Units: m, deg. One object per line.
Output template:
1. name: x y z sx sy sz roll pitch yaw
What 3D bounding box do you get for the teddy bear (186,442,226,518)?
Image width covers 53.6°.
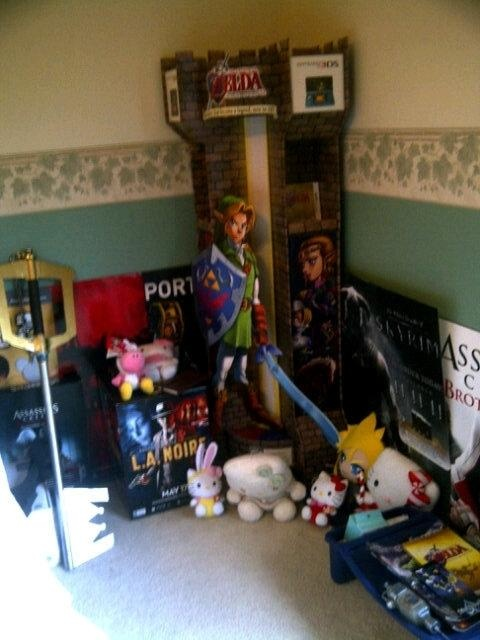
1. teddy bear: -0.172 0.752 2.340 0.179 0.371 0.227 -3 8 -7

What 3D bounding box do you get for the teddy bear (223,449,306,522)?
1. teddy bear: 0.114 0.762 2.279 0.326 0.368 0.335 4 50 11

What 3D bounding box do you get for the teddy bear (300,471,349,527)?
1. teddy bear: 0.379 0.839 2.177 0.170 0.159 0.274 -10 47 53

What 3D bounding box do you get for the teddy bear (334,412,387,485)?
1. teddy bear: 0.530 0.610 2.177 0.165 0.341 0.151 13 13 31

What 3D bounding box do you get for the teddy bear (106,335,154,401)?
1. teddy bear: -0.509 0.220 2.215 0.149 0.281 0.176 1 15 -5
